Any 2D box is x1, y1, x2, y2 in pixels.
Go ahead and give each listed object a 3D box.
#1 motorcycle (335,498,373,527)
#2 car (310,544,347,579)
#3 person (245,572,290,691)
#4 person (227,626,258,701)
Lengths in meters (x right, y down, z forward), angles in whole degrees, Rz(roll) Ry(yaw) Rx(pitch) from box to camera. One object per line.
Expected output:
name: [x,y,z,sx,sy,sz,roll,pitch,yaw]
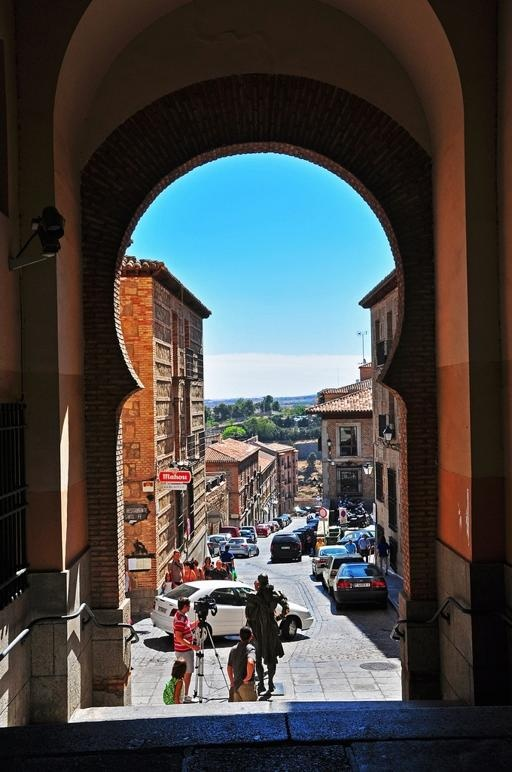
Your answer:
motorcycle: [5.843,7.621,38.174,1.561,1.353,3.798,2,5,7]
car: [2.332,5.811,21.019,0.846,0.769,1.667,0,-3,-2]
person: [0.177,3.110,8.226,0.462,1.513,0.431,-2,7,0]
person: [-0.148,3.029,6.933,0.300,0.848,0.632,-2,-4,-4]
